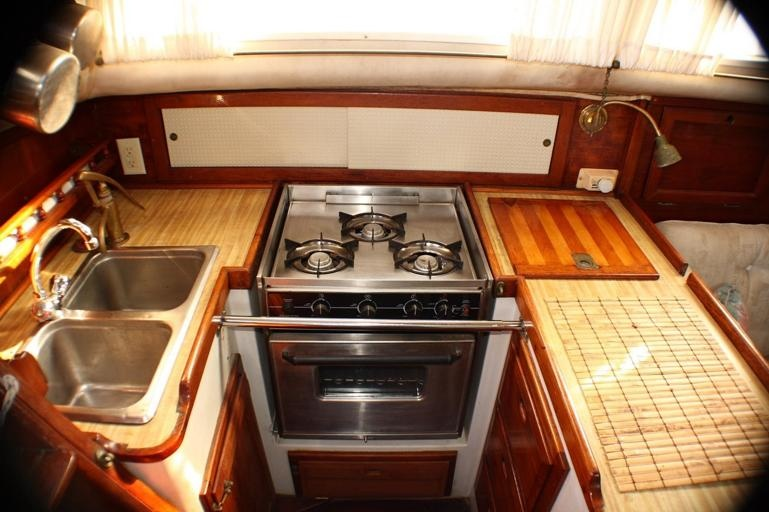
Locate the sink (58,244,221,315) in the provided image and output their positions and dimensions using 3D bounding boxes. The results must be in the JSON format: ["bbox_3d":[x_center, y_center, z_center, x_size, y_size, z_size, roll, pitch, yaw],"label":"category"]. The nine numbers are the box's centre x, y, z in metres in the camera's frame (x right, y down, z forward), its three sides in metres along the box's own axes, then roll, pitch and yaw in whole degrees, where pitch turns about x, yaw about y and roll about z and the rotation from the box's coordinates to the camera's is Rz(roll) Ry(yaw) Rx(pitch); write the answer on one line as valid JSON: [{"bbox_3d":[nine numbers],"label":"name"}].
[{"bbox_3d":[-0.992,0.091,2.141,0.446,0.297,0.297,2,50,-8],"label":"sink"}]

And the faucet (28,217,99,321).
[{"bbox_3d":[-1.209,0.061,1.921,0.292,0.371,0.162,-14,57,-38],"label":"faucet"}]

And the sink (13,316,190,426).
[{"bbox_3d":[-0.999,0.463,1.813,0.459,0.306,0.363,5,44,-17],"label":"sink"}]

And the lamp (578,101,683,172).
[{"bbox_3d":[1.074,-0.556,2.269,0.407,0.232,0.404,9,27,17],"label":"lamp"}]

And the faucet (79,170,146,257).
[{"bbox_3d":[-1.138,-0.207,2.103,0.132,0.330,0.248,-14,31,-25],"label":"faucet"}]
